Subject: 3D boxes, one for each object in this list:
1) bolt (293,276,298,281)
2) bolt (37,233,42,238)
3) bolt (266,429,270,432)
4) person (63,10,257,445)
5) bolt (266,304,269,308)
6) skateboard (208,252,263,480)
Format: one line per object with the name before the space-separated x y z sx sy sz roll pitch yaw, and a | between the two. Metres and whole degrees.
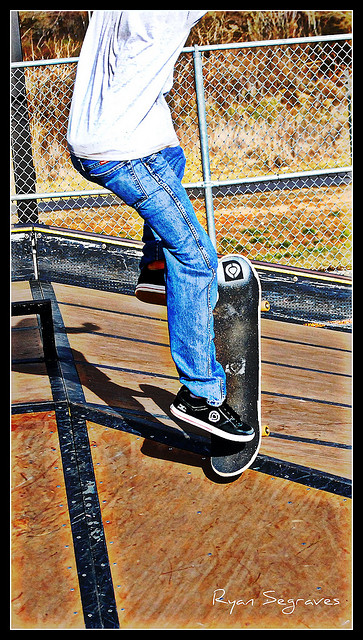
bolt | 0.743 -0.276 3.384 0.025 0.031 0.007 0 0 6
bolt | -0.969 -0.584 3.519 0.032 0.030 0.006 -4 17 -1
bolt | 0.274 0.348 1.650 0.005 0.011 0.020 6 20 28
person | -0.036 -0.274 1.547 0.563 1.240 0.289 6 20 28
bolt | 0.298 -0.053 1.797 0.004 0.014 0.016 6 20 29
skateboard | 0.185 0.112 1.658 0.161 0.712 0.099 4 -17 1
